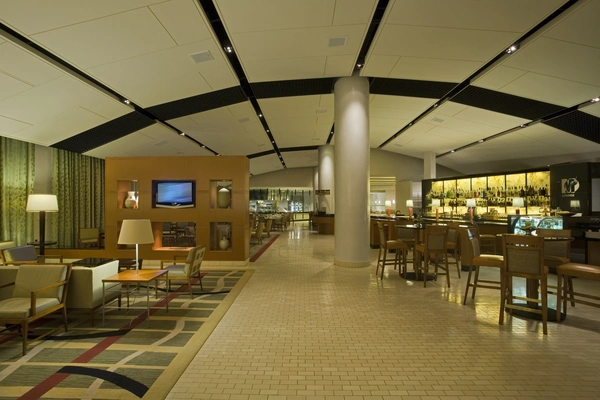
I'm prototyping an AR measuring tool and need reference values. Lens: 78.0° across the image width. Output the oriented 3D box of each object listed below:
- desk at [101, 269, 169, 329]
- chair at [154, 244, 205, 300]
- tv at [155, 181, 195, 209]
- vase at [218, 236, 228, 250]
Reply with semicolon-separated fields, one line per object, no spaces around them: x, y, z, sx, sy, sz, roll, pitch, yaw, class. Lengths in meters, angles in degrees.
-3.209;1.738;7.144;0.825;0.629;1.357;4;-2;-8;desk
-2.650;1.471;8.355;0.792;0.899;1.293;3;-2;-5;chair
-3.603;-0.154;10.748;0.854;0.586;0.109;0;-4;3;tv
-2.239;1.269;10.801;0.320;0.355;0.304;0;0;-24;vase
